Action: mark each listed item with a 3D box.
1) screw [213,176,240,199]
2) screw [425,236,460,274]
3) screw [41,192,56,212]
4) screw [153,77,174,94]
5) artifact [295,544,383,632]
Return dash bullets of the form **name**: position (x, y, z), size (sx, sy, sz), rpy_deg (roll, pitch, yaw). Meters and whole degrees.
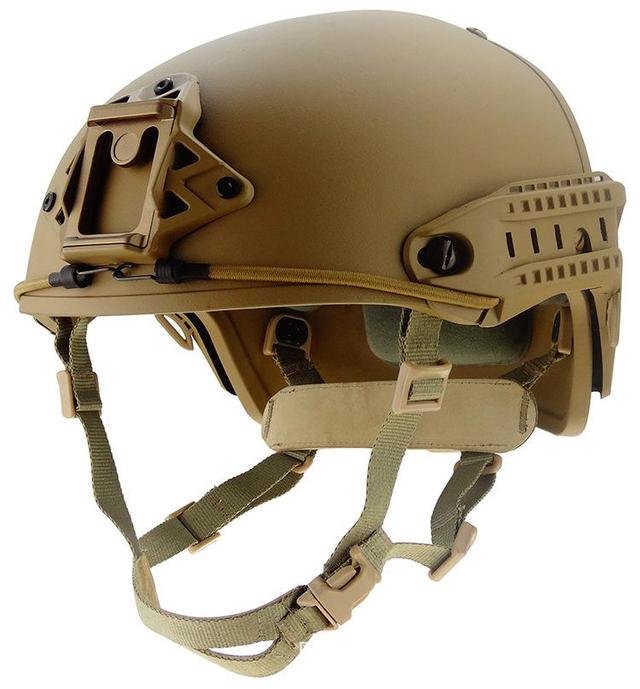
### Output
- **screw**: position (-0.131, -0.223, 1.130), size (0.039, 0.008, 0.029), rpy_deg (3, -87, -14)
- **screw**: position (0.180, -0.131, 1.187), size (0.037, 0.034, 0.061), rpy_deg (-5, -50, 13)
- **screw**: position (-0.445, -0.234, 1.296), size (0.030, 0.034, 0.015), rpy_deg (5, -6, 32)
- **screw**: position (-0.239, -0.390, 1.200), size (0.027, 0.032, 0.012), rpy_deg (5, -44, 19)
- **artifact**: position (0.003, 0.395, 1.219), size (0.067, 0.044, 0.105), rpy_deg (-41, -108, 45)
